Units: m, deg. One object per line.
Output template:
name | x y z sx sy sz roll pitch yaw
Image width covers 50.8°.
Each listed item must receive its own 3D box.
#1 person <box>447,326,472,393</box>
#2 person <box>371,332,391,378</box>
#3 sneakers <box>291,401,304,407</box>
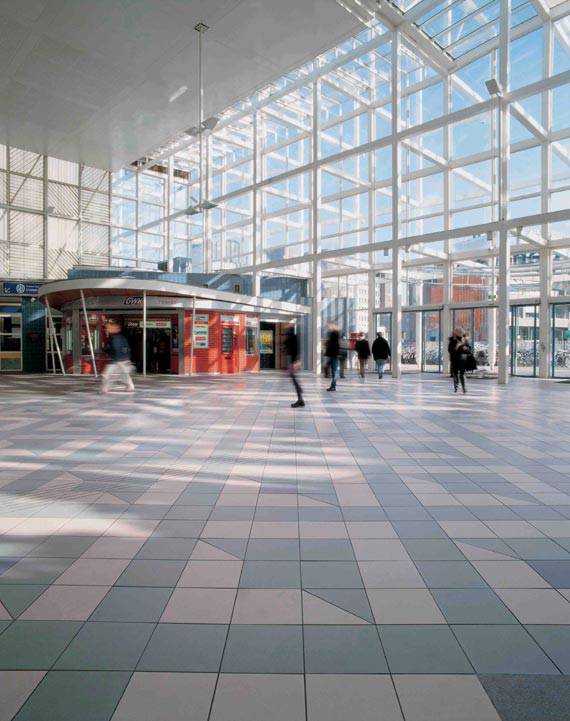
person | 4.334 -0.001 14.840 0.485 1.502 2.492 0 2 16
person | 3.323 -0.206 20.711 0.608 1.529 2.675 0 2 9
sneakers | 0.218 0.807 11.013 0.239 0.113 0.088 -2 -5 33
